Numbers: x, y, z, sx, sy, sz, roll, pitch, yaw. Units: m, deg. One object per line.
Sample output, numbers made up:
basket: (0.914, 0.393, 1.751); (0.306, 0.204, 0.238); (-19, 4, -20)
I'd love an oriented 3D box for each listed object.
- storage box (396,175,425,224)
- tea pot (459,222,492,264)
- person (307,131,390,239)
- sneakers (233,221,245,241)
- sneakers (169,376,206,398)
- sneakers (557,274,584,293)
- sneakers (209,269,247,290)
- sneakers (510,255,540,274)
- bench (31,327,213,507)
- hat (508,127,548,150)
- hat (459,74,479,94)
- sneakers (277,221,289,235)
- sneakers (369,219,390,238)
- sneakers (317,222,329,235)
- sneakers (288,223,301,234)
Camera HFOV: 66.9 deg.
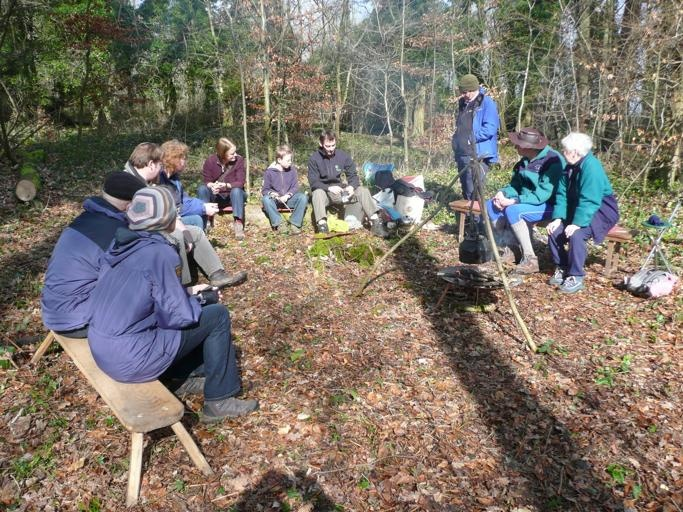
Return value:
storage box: (1.258, -1.016, 9.136); (0.639, 0.858, 0.279); (4, 3, 6)
tea pot: (1.514, -0.156, 5.765); (0.306, 0.452, 0.347); (15, 25, 42)
person: (0.242, -1.220, 8.592); (1.062, 1.410, 1.866); (-14, 39, -16)
sneakers: (-1.634, -0.410, 8.253); (0.126, 0.147, 0.366); (-6, 18, -15)
sneakers: (-1.534, 1.312, 5.219); (0.476, 0.158, 0.197); (-3, 4, -12)
sneakers: (3.071, 0.372, 6.854); (0.354, 0.148, 0.156); (-3, 11, -19)
sneakers: (-1.499, 0.277, 6.895); (0.557, 0.269, 0.191); (-14, 16, -13)
sneakers: (2.612, 0.121, 7.314); (0.376, 0.239, 0.197); (1, 5, 5)
bench: (-1.978, 1.371, 4.804); (0.685, 1.136, 1.672); (-18, 24, -40)
hat: (2.771, -1.648, 7.476); (0.422, 0.113, 0.410); (-2, 38, -5)
hat: (2.074, -2.797, 8.398); (0.303, 0.224, 0.300); (-7, 32, 6)
sneakers: (-0.941, -0.457, 8.415); (0.106, 0.236, 0.123); (8, 53, 6)
sneakers: (0.599, -0.463, 8.278); (0.146, 0.186, 0.426); (-34, 44, -22)
sneakers: (-0.285, -0.445, 8.197); (0.183, 0.203, 0.336); (-3, 18, -3)
sneakers: (-0.758, -0.458, 8.419); (0.135, 0.175, 0.178); (-2, -2, -1)
